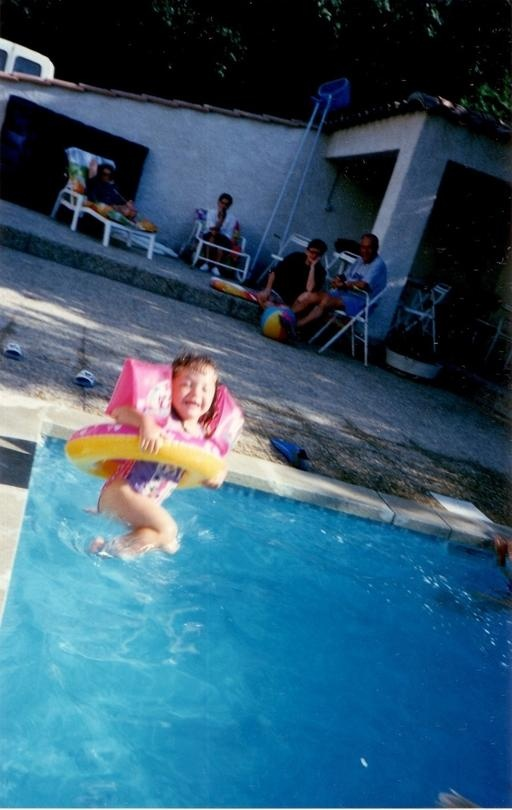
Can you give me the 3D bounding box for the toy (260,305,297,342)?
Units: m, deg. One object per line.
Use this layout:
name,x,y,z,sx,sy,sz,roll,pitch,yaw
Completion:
toy,0.219,-0.932,8.335,0.407,0.432,0.405,18,9,27

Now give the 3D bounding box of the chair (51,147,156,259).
chair,-2.250,-3.045,10.492,1.580,1.128,1.075,33,26,31

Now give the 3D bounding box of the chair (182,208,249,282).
chair,-0.615,-2.623,11.514,1.000,1.141,1.578,13,7,-8

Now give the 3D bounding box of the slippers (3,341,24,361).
slippers,-1.409,-0.290,3.963,0.098,0.048,0.142,-1,22,-23

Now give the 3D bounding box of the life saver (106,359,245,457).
life saver,-0.283,-0.040,2.808,0.485,0.193,0.418,28,-12,7

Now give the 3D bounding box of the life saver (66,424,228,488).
life saver,-0.496,0.190,2.707,0.376,0.102,0.373,0,-21,31

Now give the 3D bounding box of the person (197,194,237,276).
person,-0.599,-2.689,11.087,0.546,1.269,1.033,16,9,-7

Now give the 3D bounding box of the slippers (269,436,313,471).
slippers,0.194,0.296,4.129,0.101,0.143,0.333,2,32,-33
